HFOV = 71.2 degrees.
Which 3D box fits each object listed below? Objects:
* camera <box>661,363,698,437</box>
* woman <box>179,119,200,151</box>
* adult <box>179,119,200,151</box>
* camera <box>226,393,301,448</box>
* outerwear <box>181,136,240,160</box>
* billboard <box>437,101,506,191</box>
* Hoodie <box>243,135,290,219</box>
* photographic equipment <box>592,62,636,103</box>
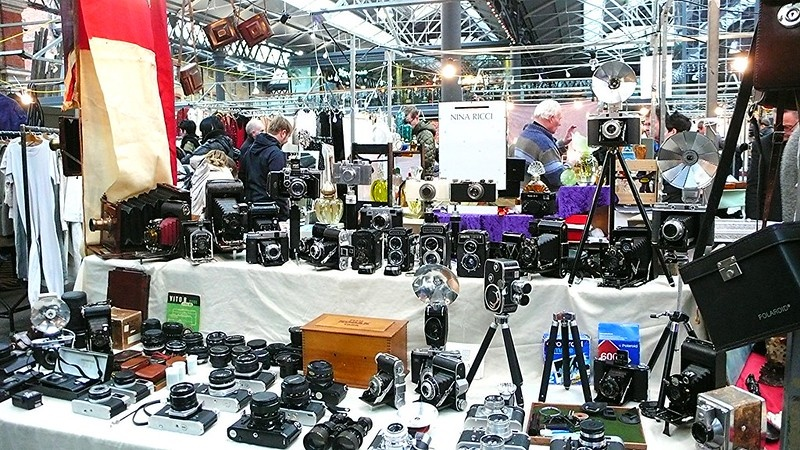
[{"bbox_3d":[2.108,1.324,4.259,0.253,0.468,0.196,-2,8,-6],"label":"camera"},{"bbox_3d":[-4.137,-1.716,10.972,0.401,0.648,0.726,2,27,-20],"label":"woman"},{"bbox_3d":[-4.149,-1.723,10.972,0.398,0.636,0.703,1,31,-24],"label":"adult"},{"bbox_3d":[-1.026,1.464,4.235,0.506,0.385,0.248,2,9,17],"label":"camera"},{"bbox_3d":[-3.022,-1.190,8.555,0.768,0.333,0.689,-4,14,21],"label":"outerwear"},{"bbox_3d":[0.796,-0.992,6.247,0.782,0.964,0.573,1,29,7],"label":"billboard"},{"bbox_3d":[-1.573,-0.549,6.560,0.430,1.066,0.839,-10,22,-36],"label":"Hoodie"},{"bbox_3d":[1.922,-1.272,4.997,0.367,0.388,0.282,1,9,11],"label":"photographic equipment"}]
